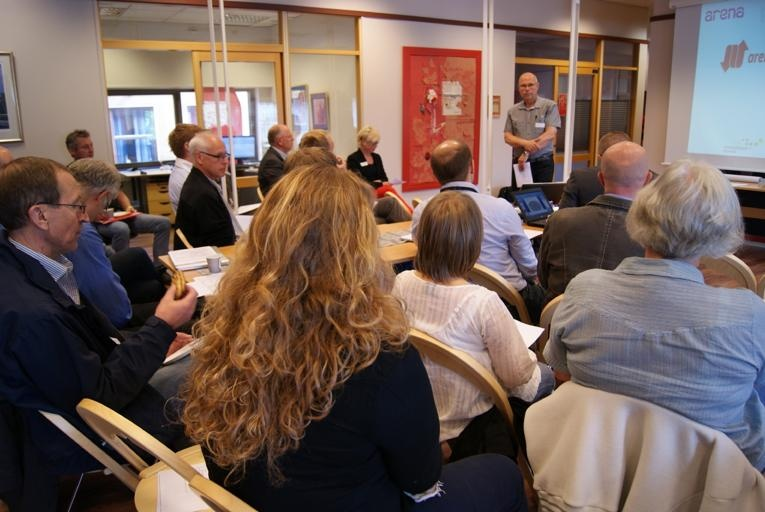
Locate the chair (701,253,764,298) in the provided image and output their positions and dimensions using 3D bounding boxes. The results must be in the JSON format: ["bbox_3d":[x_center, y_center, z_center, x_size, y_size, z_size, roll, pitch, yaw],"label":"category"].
[{"bbox_3d":[1.914,0.107,3.008,0.141,0.245,0.132,-21,34,-21],"label":"chair"}]

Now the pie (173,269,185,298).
[{"bbox_3d":[-0.922,0.120,2.503,0.071,0.131,0.034,13,-19,-42],"label":"pie"}]

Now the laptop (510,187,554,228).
[{"bbox_3d":[1.244,-0.419,4.495,0.422,0.297,0.282,-17,3,-36],"label":"laptop"}]

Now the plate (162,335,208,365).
[{"bbox_3d":[-0.800,0.383,2.199,0.183,0.044,0.186,-34,3,-28],"label":"plate"}]

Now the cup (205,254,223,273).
[{"bbox_3d":[-1.004,0.053,3.263,0.096,0.091,0.082,-1,5,-14],"label":"cup"}]
